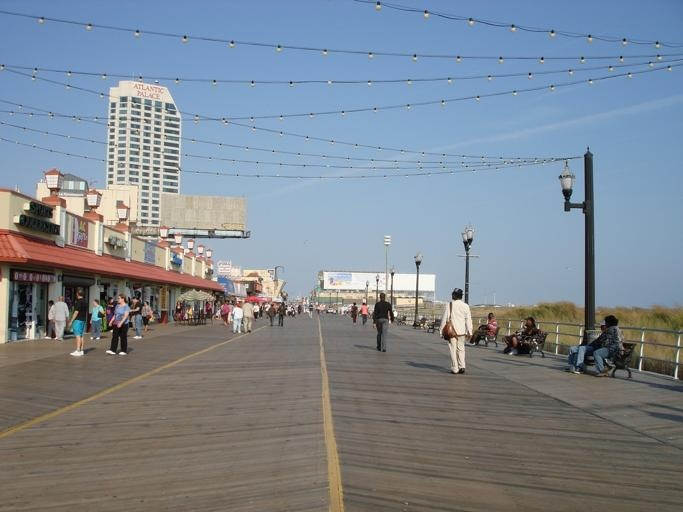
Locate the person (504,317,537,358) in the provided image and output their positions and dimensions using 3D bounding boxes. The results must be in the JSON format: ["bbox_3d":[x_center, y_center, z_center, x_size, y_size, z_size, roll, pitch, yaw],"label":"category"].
[{"bbox_3d":[5.790,2.571,24.730,1.069,1.348,0.855,11,-7,-14],"label":"person"}]

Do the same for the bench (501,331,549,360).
[{"bbox_3d":[6.237,2.850,25.097,1.462,0.933,1.995,1,0,-20],"label":"bench"}]

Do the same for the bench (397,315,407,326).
[{"bbox_3d":[4.722,4.890,57.870,0.934,1.168,0.856,2,-5,-1],"label":"bench"}]

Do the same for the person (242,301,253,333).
[{"bbox_3d":[-4.857,3.175,39.422,0.438,1.595,1.609,0,0,-8],"label":"person"}]

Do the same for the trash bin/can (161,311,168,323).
[{"bbox_3d":[-11.946,4.055,51.125,0.537,1.079,1.072,0,-4,-10],"label":"trash bin/can"}]

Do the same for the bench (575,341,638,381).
[{"bbox_3d":[6.540,2.478,18.779,1.222,0.834,1.110,9,-1,7],"label":"bench"}]

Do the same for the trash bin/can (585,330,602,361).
[{"bbox_3d":[6.324,2.207,18.922,0.204,0.617,0.442,23,-1,2],"label":"trash bin/can"}]

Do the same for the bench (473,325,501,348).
[{"bbox_3d":[5.741,3.154,29.867,1.197,1.173,0.987,3,-8,-7],"label":"bench"}]

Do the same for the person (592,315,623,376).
[{"bbox_3d":[6.539,2.186,18.646,0.678,1.464,0.669,0,0,19],"label":"person"}]

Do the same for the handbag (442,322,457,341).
[{"bbox_3d":[2.662,1.833,18.693,0.213,0.434,0.423,1,-3,-20],"label":"handbag"}]
